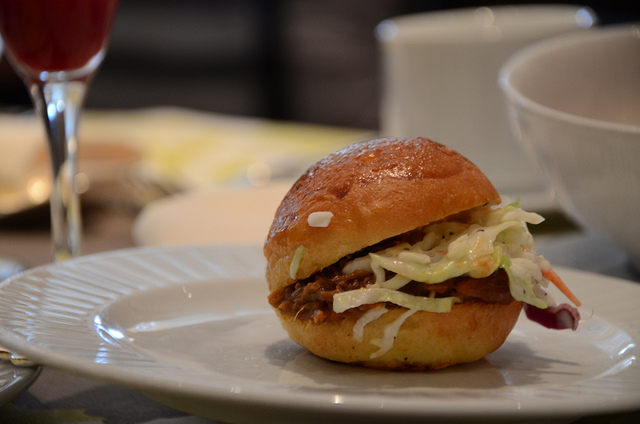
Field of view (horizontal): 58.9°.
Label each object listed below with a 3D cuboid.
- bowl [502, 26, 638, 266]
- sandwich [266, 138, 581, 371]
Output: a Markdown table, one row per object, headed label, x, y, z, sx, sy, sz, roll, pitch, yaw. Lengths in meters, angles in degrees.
| label | x | y | z | sx | sy | sz | roll | pitch | yaw |
| --- | --- | --- | --- | --- | --- | --- | --- | --- | --- |
| bowl | 0.697 | -0.214 | 1.565 | 0.426 | 0.444 | 0.577 | 10 | 41 | 12 |
| sandwich | 0.204 | 0.104 | 1.231 | 0.563 | 0.360 | 0.533 | -1 | 2 | -40 |
